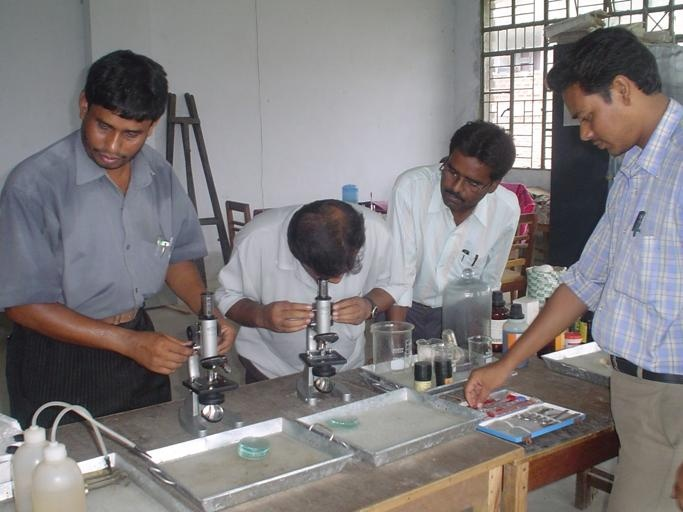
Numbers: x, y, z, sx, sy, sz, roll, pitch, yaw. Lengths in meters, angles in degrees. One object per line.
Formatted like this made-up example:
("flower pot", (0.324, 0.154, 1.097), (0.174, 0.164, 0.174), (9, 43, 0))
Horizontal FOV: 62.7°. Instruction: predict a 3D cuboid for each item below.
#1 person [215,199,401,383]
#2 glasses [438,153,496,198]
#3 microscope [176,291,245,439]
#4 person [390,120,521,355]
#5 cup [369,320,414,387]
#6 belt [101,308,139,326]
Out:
("person", (-0.099, 0.077, 2.331), (0.695, 0.841, 0.669), (-8, 19, -34))
("glasses", (0.541, -0.340, 2.458), (0.166, 0.109, 0.218), (32, 8, 3))
("microscope", (-0.406, 0.316, 1.668), (0.155, 0.386, 0.224), (-3, 2, -44))
("person", (0.548, -0.138, 2.743), (0.547, 1.189, 0.548), (2, 18, -4))
("cup", (0.186, 0.359, 2.110), (0.141, 0.209, 0.116), (-4, 17, -19))
("belt", (-0.830, 0.217, 2.091), (0.055, 0.023, 0.075), (-10, 16, 26))
